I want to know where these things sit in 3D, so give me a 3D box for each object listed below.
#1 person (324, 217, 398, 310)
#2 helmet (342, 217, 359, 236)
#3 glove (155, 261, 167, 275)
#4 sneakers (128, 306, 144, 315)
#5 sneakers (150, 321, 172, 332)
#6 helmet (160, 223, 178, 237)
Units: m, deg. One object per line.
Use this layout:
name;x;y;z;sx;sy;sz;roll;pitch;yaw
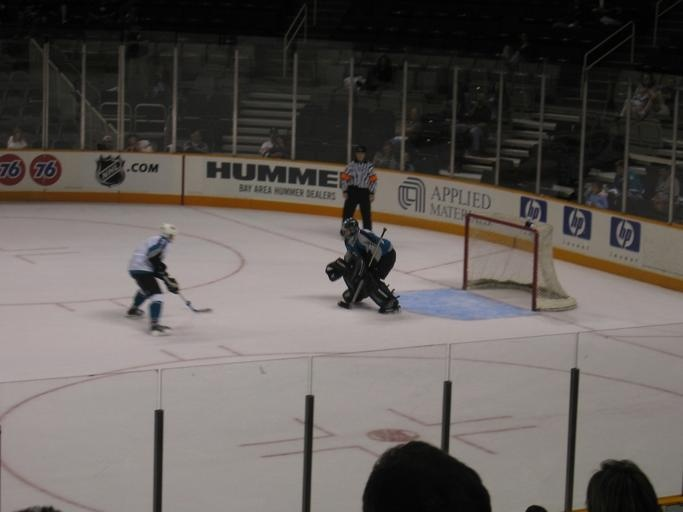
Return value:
person;0.347;0.113;13.503;0.935;1.236;1.219;-11;11;-36
helmet;0.117;-0.405;13.261;0.209;0.240;0.262;8;12;39
glove;-2.303;0.145;12.141;0.157;0.122;0.135;0;2;36
sneakers;-2.677;0.714;12.478;0.096;0.069;0.176;6;-1;44
sneakers;-2.244;0.871;11.886;0.193;0.069;0.118;4;0;-23
helmet;-2.183;-0.331;12.277;0.209;0.178;0.160;-12;39;-36
